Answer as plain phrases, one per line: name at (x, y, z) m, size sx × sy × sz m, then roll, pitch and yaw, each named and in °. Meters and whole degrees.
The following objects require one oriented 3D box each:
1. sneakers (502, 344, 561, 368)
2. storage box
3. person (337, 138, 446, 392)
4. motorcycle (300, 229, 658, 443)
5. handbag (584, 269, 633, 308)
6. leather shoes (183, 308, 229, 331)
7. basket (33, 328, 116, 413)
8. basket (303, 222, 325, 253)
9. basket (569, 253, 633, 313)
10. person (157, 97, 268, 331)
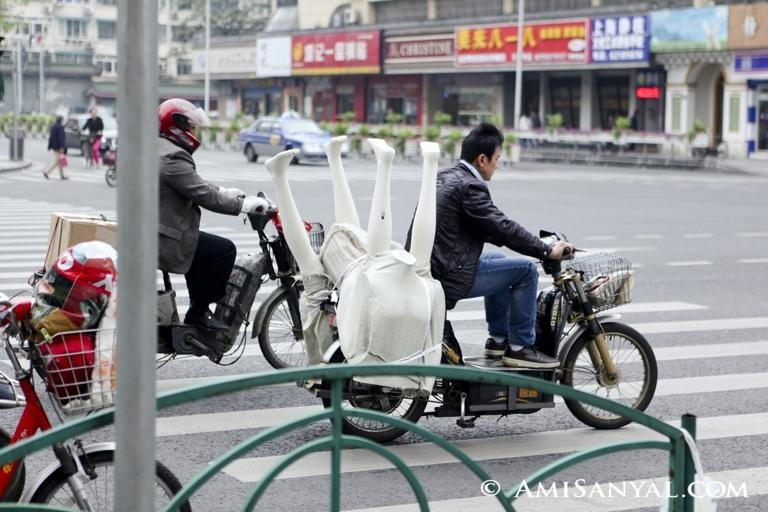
sneakers at (1.199, 0.820, 9.405) m, size 0.487 × 0.215 × 0.181 m, roll 1°, pitch -3°, yaw -8°
storage box at (-2.612, -0.106, 10.290) m, size 0.728 × 0.481 × 0.718 m, roll -1°, pitch 8°, yaw -44°
person at (0.058, -0.038, 8.984) m, size 0.861 × 1.752 × 0.574 m, roll 0°, pitch 6°, yaw -3°
motorcycle at (0.610, 0.610, 9.789) m, size 3.410 × 1.950 × 1.389 m, roll 0°, pitch 3°, yaw -12°
handbag at (1.917, 0.285, 9.782) m, size 0.480 × 0.347 × 0.274 m, roll -9°, pitch 0°, yaw -24°
leather shoes at (-1.566, 0.593, 10.168) m, size 0.430 × 0.199 × 0.160 m, roll 16°, pitch -5°, yaw -4°
basket at (-2.094, 0.785, 8.247) m, size 0.706 × 0.618 × 0.526 m, roll -10°, pitch 6°, yaw -11°
basket at (-0.651, -0.178, 10.570) m, size 0.267 × 0.297 × 0.241 m, roll 0°, pitch 7°, yaw 10°
basket at (1.874, 0.237, 9.955) m, size 0.497 × 0.456 × 0.499 m, roll -18°, pitch 13°, yaw -21°
person at (-1.585, -0.368, 10.082) m, size 0.793 × 2.018 × 0.535 m, roll -1°, pitch 6°, yaw -13°
